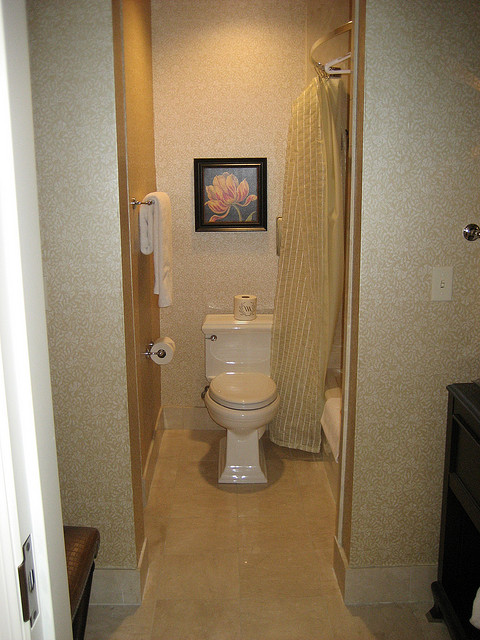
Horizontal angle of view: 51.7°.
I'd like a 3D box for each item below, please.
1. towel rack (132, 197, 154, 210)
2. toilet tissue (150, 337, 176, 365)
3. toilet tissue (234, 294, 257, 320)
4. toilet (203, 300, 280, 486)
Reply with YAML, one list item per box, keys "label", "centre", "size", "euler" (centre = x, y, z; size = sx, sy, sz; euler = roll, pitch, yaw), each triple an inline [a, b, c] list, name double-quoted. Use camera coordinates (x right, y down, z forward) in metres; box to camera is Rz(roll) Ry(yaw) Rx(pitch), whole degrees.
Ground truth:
- label: "towel rack"
  centre: [-0.449, -0.549, 2.301]
  size: [0.075, 0.063, 0.046]
  euler: [-12, 33, -32]
- label: "toilet tissue"
  centre: [-0.412, 0.164, 2.680]
  size: [0.117, 0.121, 0.177]
  euler: [-1, 10, -6]
- label: "toilet tissue"
  centre: [0.034, -0.076, 3.046]
  size: [0.101, 0.157, 0.136]
  euler: [0, 16, 0]
- label: "toilet"
  centre: [0.015, 0.396, 2.949]
  size: [0.451, 0.882, 0.798]
  euler: [-1, 10, -5]
